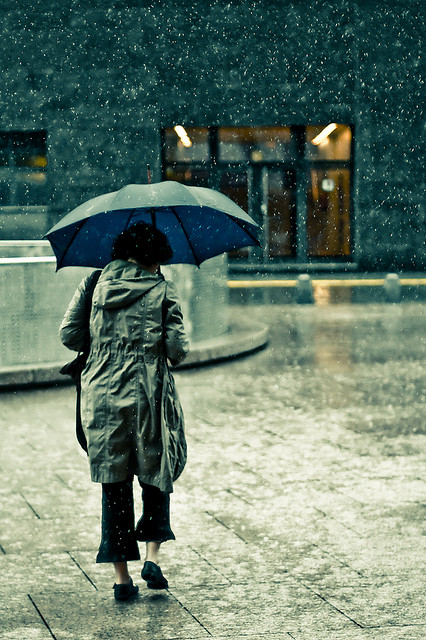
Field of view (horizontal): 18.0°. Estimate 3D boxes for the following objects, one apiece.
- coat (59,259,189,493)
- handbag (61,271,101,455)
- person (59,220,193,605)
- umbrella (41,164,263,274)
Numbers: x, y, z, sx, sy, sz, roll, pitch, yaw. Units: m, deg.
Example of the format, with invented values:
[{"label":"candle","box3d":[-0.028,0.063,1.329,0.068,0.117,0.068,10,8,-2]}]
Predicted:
[{"label":"coat","box3d":[-0.406,0.341,6.086,0.476,1.519,0.452,-1,-20,0]},{"label":"handbag","box3d":[-0.608,0.243,6.239,0.193,0.838,0.202,-8,14,-27]},{"label":"person","box3d":[-0.416,0.376,6.400,0.574,1.700,1.003,0,5,-1]},{"label":"umbrella","box3d":[-0.256,-0.519,6.756,0.682,0.436,0.743,-3,-13,-24]}]
